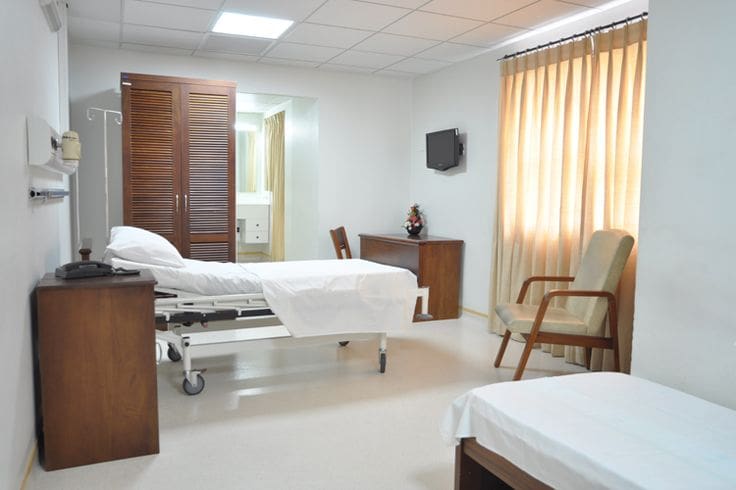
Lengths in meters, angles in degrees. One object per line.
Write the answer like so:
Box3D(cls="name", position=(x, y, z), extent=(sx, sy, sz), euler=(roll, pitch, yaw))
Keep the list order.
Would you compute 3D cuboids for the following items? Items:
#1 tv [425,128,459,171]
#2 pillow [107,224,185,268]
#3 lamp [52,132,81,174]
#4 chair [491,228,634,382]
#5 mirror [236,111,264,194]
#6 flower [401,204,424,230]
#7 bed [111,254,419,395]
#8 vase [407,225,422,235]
Box3D(cls="tv", position=(0.947, -1.197, 6.336), extent=(0.090, 0.521, 0.604), euler=(-4, 6, -33))
Box3D(cls="pillow", position=(-1.784, 0.026, 3.955), extent=(0.556, 0.290, 0.444), euler=(-3, 12, -21))
Box3D(cls="lamp", position=(-2.213, -0.709, 3.676), extent=(0.112, 0.252, 0.111), euler=(1, 2, -8))
Box3D(cls="chair", position=(1.677, 0.524, 4.422), extent=(1.163, 1.264, 1.057), euler=(-4, 6, -20))
Box3D(cls="mirror", position=(-2.079, -1.620, 8.704), extent=(0.476, 1.387, 0.399), euler=(-2, 12, -14))
Box3D(cls="flower", position=(0.598, -0.372, 6.711), extent=(0.336, 0.412, 0.339), euler=(0, 5, -11))
Box3D(cls="bed", position=(-0.756, 0.513, 4.440), extent=(2.113, 0.901, 1.115), euler=(-2, 5, -17))
Box3D(cls="vase", position=(0.625, -0.189, 6.600), extent=(0.132, 0.080, 0.132), euler=(-2, 4, -13))
